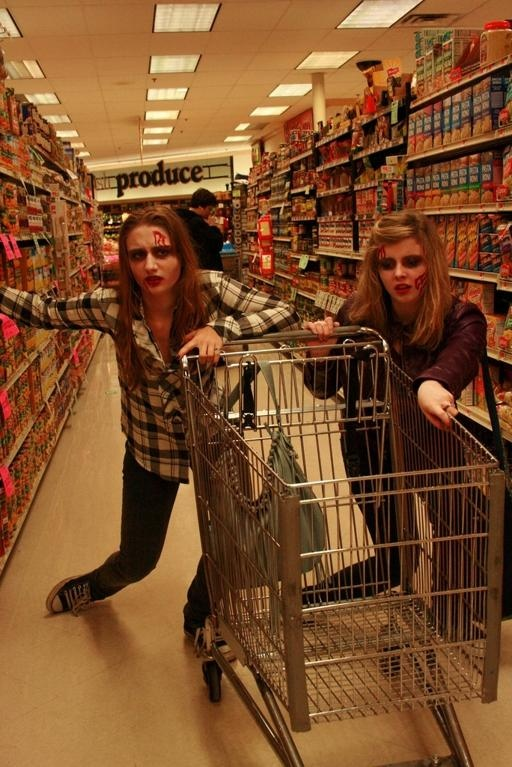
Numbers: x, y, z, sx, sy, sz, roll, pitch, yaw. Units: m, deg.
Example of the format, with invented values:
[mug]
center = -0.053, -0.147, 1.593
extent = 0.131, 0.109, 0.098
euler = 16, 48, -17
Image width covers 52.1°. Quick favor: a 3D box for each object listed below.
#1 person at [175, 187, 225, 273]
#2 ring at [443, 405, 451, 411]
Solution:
[person]
center = -0.629, -1.470, 6.049
extent = 0.412, 1.370, 0.468
euler = 22, 32, 39
[ring]
center = 0.344, 0.046, 0.945
extent = 0.007, 0.011, 0.010
euler = -1, 2, -34
